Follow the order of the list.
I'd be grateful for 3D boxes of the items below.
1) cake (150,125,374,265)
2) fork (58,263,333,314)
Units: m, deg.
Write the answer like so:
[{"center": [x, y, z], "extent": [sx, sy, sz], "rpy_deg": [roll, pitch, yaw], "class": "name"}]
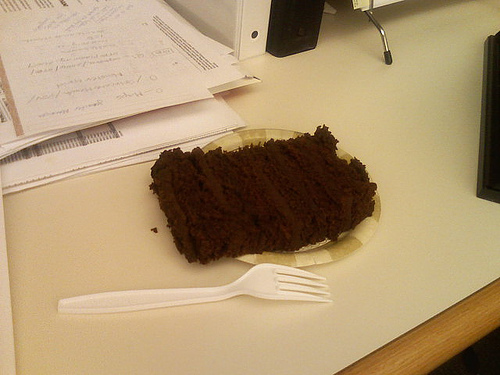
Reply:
[{"center": [0.019, 0.018, 0.530], "extent": [0.213, 0.072, 0.150], "rpy_deg": [-9, 56, -18], "class": "cake"}, {"center": [-0.053, 0.107, 0.474], "extent": [0.292, 0.030, 0.042], "rpy_deg": [0, 51, -9], "class": "fork"}]
